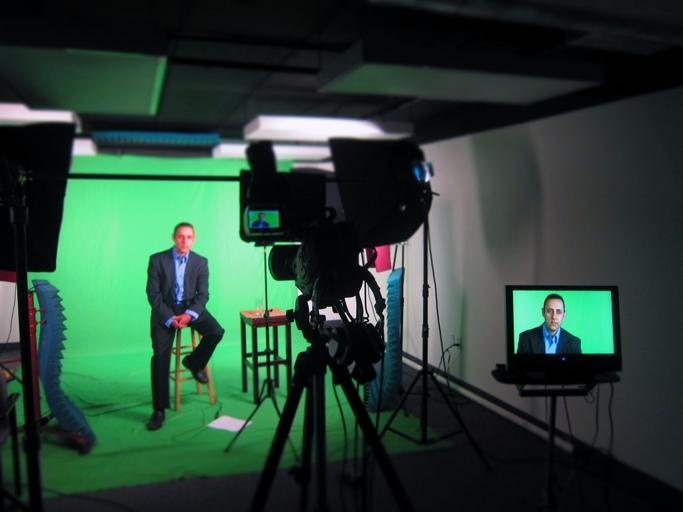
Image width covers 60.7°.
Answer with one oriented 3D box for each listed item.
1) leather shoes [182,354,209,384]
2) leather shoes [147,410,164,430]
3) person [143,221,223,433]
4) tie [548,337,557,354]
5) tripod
[{"bbox_3d":[-1.383,1.083,5.554,0.132,0.333,0.119,-19,19,19],"label":"leather shoes"},{"bbox_3d":[-1.578,1.408,4.961,0.136,0.141,0.148,1,-3,-14],"label":"leather shoes"},{"bbox_3d":[-1.538,0.582,5.469,0.569,1.833,0.858,-2,-4,34],"label":"person"},{"bbox_3d":[1.390,0.597,3.860,0.062,0.096,0.025,4,4,-8],"label":"tie"},{"bbox_3d":[-0.087,0.766,3.029,0.867,1.293,0.772,-1,-10,-10],"label":"tripod"}]
